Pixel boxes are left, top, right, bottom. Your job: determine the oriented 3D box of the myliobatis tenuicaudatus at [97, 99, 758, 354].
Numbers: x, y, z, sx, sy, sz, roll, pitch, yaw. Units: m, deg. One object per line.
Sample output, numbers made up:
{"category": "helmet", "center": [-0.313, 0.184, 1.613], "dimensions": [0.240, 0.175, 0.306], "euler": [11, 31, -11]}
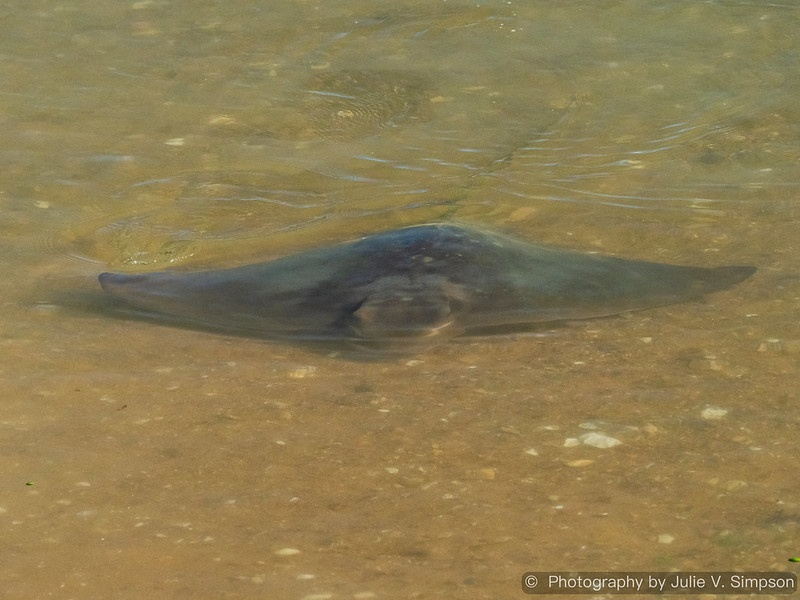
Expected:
{"category": "myliobatis tenuicaudatus", "center": [0.115, -0.101, 6.710], "dimensions": [3.729, 0.456, 1.226], "euler": [-8, 23, -8]}
